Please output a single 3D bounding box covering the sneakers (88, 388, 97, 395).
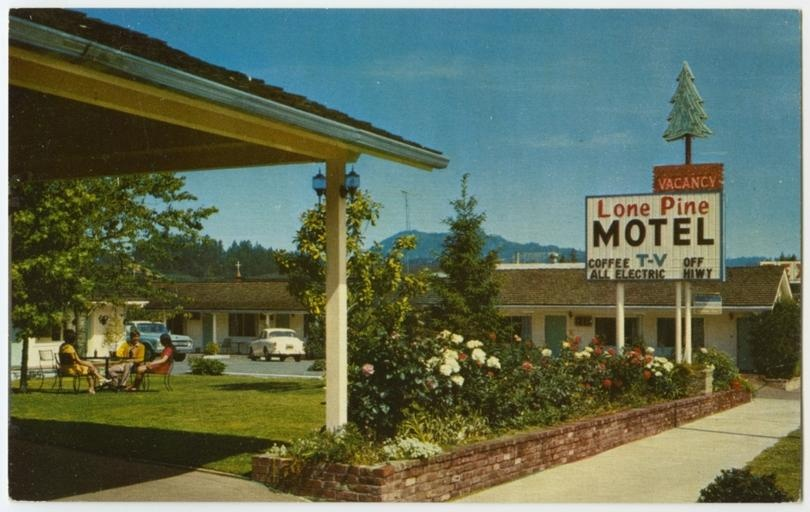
[{"bbox_3d":[-7.527,3.286,22.279,0.202,0.186,0.102,-1,-3,20],"label":"sneakers"}]

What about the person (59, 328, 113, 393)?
[{"bbox_3d":[-7.773,2.539,22.320,0.790,1.577,1.436,7,6,28],"label":"person"}]

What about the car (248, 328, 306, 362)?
[{"bbox_3d":[-5.675,3.766,39.325,1.299,0.798,2.169,2,-1,-31],"label":"car"}]
